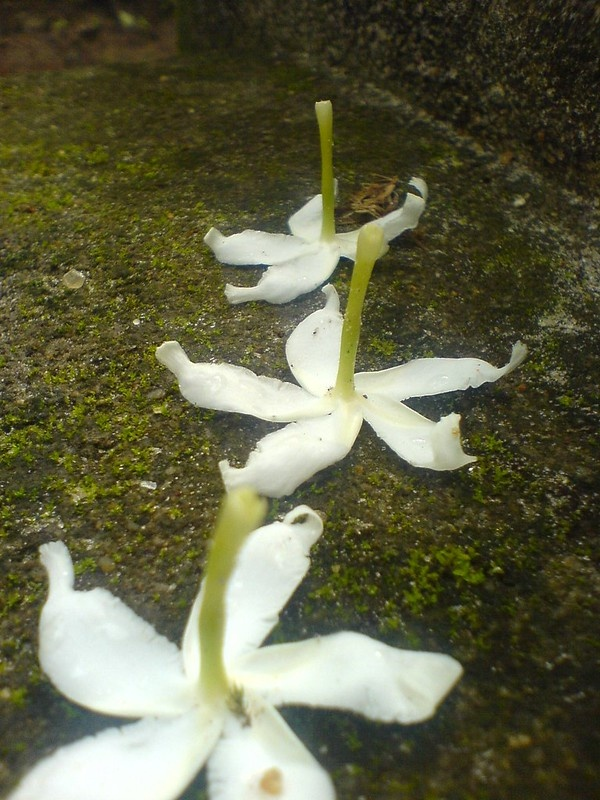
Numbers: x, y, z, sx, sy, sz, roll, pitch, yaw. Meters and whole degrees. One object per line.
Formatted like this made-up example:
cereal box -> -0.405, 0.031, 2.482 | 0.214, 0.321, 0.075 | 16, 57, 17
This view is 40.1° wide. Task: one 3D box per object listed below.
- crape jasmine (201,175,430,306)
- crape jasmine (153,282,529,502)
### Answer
crape jasmine -> 0.040, -0.268, 1.553 | 0.360, 0.094, 0.227 | -28, 59, -2
crape jasmine -> 0.064, -0.002, 1.240 | 0.445, 0.172, 0.392 | -27, 48, -33
